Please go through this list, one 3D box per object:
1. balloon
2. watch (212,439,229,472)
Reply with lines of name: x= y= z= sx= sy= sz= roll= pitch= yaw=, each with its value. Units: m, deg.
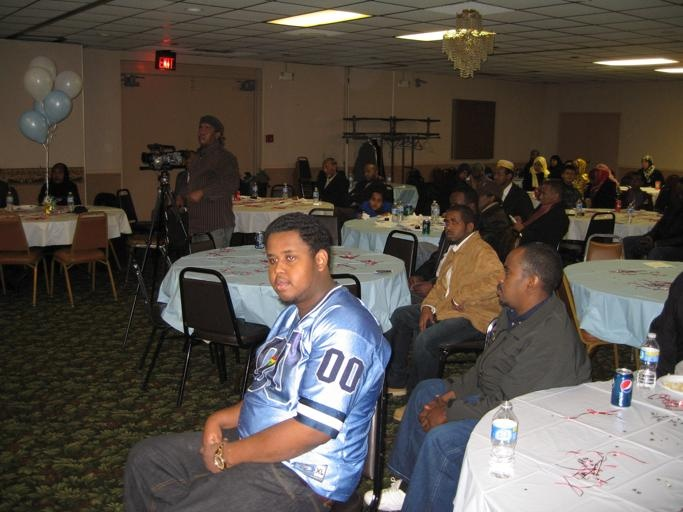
balloon: x=-4.507 y=-2.426 z=7.670 sx=0.854 sy=1.307 sz=0.849 roll=-3 pitch=14 yaw=-15
watch: x=-0.411 y=0.676 z=1.671 sx=0.059 sy=0.089 sz=0.088 roll=4 pitch=11 yaw=-3
